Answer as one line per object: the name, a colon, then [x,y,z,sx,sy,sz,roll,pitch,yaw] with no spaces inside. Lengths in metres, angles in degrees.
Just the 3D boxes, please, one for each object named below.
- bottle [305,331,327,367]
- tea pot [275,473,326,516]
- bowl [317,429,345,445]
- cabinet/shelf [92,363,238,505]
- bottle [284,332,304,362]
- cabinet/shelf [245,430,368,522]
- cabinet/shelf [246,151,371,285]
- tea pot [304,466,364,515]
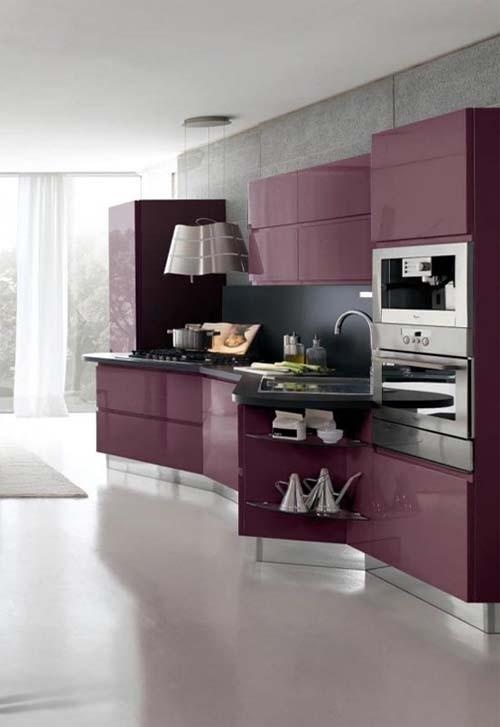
bottle: [0.425,-0.072,3.917,0.134,0.219,0.491,0,-2,7]
tea pot: [0.221,0.574,2.700,0.179,0.161,0.151,1,-2,12]
bowl: [0.351,0.312,2.637,0.106,0.063,0.171,0,-2,9]
cabinet/shelf: [-0.798,0.418,4.652,0.416,0.739,1.491,-7,-11,30]
bottle: [0.268,-0.097,3.868,0.137,0.188,0.140,0,-2,0]
cabinet/shelf: [0.240,0.512,2.704,0.468,0.321,0.295,2,-4,15]
cabinet/shelf: [0.458,-0.899,3.917,0.358,0.699,1.099,-15,13,-37]
tea pot: [0.354,0.548,2.614,0.196,0.191,0.172,1,-2,-29]
